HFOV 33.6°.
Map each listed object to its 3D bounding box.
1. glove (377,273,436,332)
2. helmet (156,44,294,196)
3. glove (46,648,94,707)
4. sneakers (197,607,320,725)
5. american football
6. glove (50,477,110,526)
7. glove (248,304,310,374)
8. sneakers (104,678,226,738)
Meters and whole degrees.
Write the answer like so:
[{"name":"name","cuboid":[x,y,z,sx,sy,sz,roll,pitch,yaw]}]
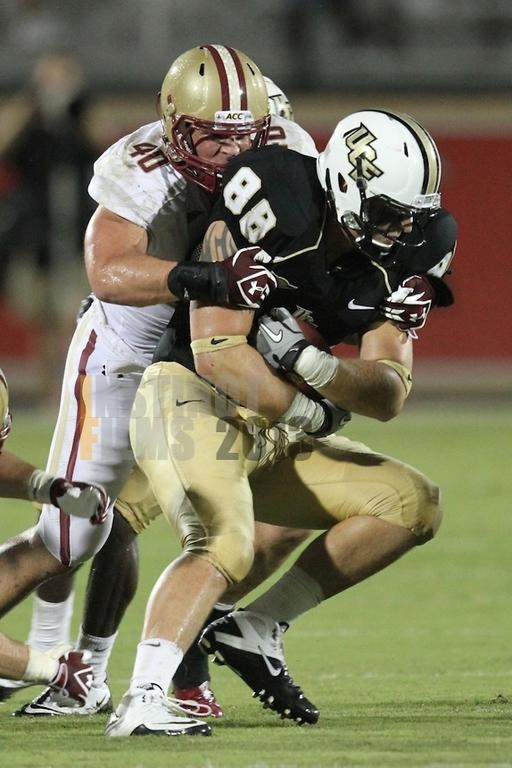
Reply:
[{"name":"glove","cuboid":[0.320,-0.167,1.830,0.095,0.128,0.064,46,8,18]},{"name":"helmet","cuboid":[-0.128,-0.660,2.174,0.339,0.338,0.404,-7,45,-24]},{"name":"glove","cuboid":[-0.376,0.623,1.805,0.077,0.110,0.200,-1,-9,10]},{"name":"sneakers","cuboid":[0.004,0.554,1.671,0.229,0.207,0.081,2,-10,-4]},{"name":"american football","cuboid":[0.058,-0.079,1.693,0.122,0.228,0.087,-29,-26,35]},{"name":"glove","cuboid":[-0.363,0.242,1.769,0.056,0.067,0.133,-16,-23,31]},{"name":"glove","cuboid":[0.048,-0.094,1.679,0.129,0.056,0.100,44,-3,44]},{"name":"sneakers","cuboid":[-0.147,0.550,1.449,0.238,0.084,0.074,2,-1,-5]}]
